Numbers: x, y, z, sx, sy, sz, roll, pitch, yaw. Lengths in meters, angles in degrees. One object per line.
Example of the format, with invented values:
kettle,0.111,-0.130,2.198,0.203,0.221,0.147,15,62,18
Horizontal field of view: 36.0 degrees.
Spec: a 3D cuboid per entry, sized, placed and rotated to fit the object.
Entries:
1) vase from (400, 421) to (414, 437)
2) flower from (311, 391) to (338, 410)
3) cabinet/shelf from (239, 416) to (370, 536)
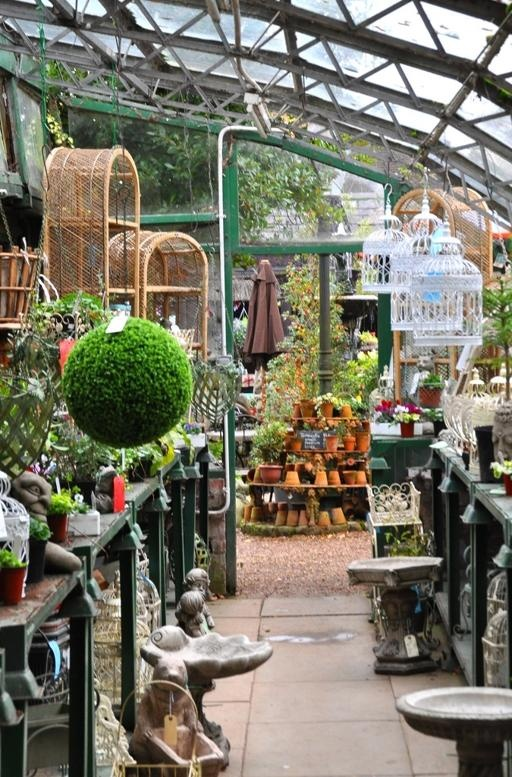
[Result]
vase,1.164,0.318,6.019,0.103,0.086,0.110,0,-2,0
flower,0.799,0.143,8.875,0.201,0.151,0.207,0,1,28
cabinet/shelf,0.488,0.941,8.979,1.294,1.266,1.246,5,-5,-35
